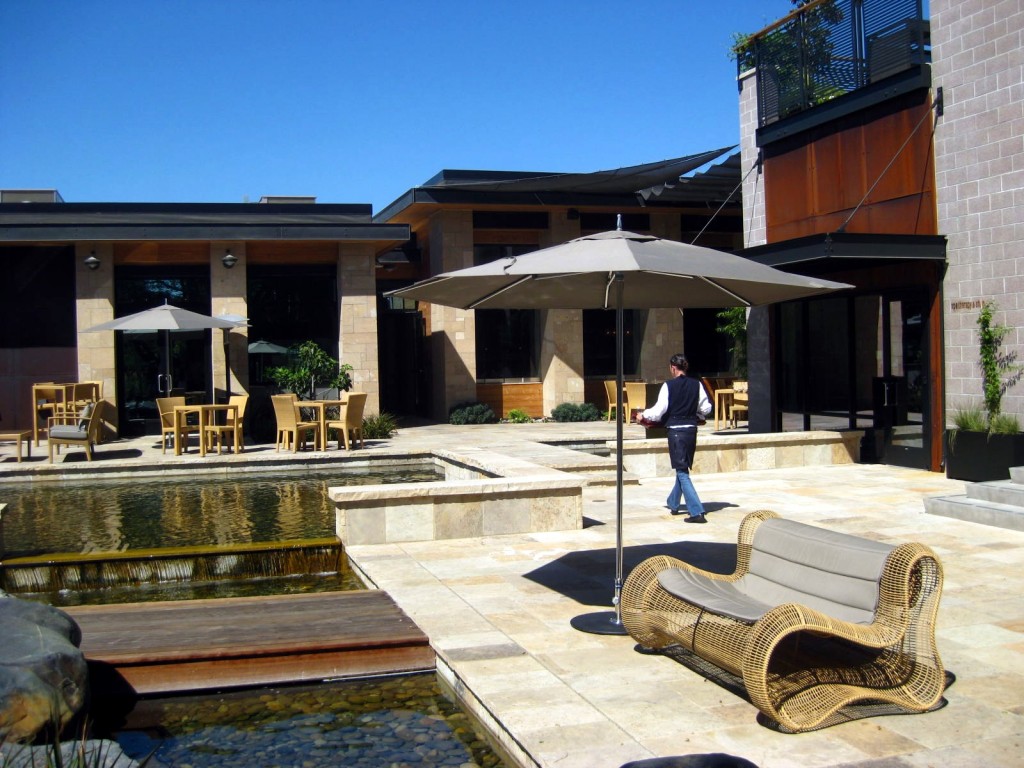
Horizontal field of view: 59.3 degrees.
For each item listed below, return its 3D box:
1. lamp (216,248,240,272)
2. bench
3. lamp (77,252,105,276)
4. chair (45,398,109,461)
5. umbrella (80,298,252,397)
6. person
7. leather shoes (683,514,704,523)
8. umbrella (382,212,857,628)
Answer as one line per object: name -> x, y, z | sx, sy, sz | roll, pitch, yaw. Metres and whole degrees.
lamp -> -6.268, -2.798, 19.986 | 0.430, 0.441, 0.417 | 0, 0, -5
bench -> 1.852, 1.394, 5.688 | 1.655, 1.020, 1.408 | -3, 3, -24
lamp -> -8.928, -2.626, 19.194 | 0.400, 0.451, 0.357 | -3, 3, -22
chair -> -7.862, 0.831, 15.939 | 1.091, 1.111, 1.834 | -1, 0, -8
umbrella -> -6.549, -1.178, 17.856 | 2.459, 1.558, 2.244 | -1, -1, -2
person -> 1.925, 0.606, 10.601 | 0.924, 1.879, 0.868 | 0, 1, 22
leather shoes -> 2.086, 1.530, 10.198 | 0.235, 0.094, 0.086 | 3, 4, 18
umbrella -> 0.853, 0.215, 7.154 | 3.108, 3.009, 2.044 | -1, 3, -5
